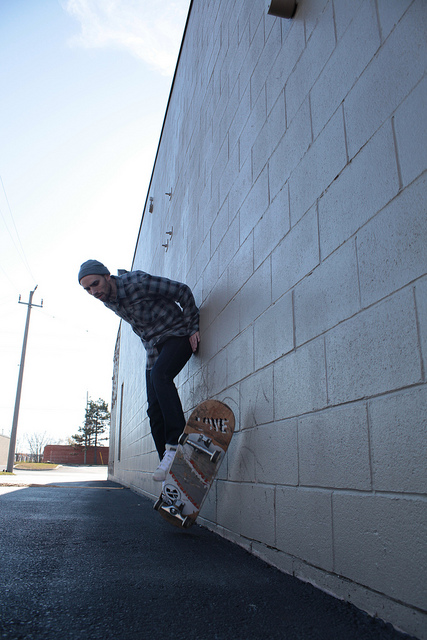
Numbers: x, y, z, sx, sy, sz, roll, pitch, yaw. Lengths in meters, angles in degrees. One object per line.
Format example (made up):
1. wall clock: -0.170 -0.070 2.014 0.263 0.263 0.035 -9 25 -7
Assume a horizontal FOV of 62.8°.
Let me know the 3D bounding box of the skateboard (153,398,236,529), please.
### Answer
1. skateboard: -0.106 0.744 1.742 0.201 0.134 0.732 19 29 9
